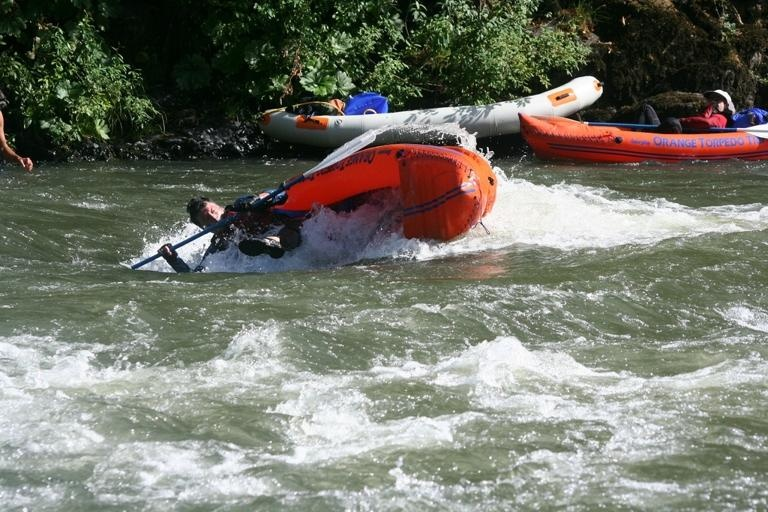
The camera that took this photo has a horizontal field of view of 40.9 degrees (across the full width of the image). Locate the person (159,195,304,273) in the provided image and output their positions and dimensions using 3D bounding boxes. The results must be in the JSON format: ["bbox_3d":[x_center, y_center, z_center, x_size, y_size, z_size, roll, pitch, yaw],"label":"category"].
[{"bbox_3d":[-1.782,-0.235,12.379,2.048,0.530,1.339,-11,11,-13],"label":"person"}]

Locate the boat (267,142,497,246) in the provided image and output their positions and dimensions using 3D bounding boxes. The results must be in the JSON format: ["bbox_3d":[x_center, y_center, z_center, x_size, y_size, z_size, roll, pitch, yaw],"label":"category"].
[{"bbox_3d":[0.101,-0.774,12.159,2.251,0.555,1.159,4,17,15],"label":"boat"}]

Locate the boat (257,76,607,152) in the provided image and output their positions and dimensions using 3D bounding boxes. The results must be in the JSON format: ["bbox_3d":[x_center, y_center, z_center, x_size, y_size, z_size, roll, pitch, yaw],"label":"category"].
[{"bbox_3d":[0.867,-2.384,17.632,4.932,0.676,1.998,-5,4,-3],"label":"boat"}]

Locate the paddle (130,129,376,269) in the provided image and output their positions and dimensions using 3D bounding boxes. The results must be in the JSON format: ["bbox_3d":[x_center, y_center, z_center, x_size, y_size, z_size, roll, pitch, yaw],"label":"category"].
[{"bbox_3d":[-1.796,-0.749,13.846,5.338,0.174,0.524,-23,37,4],"label":"paddle"}]
